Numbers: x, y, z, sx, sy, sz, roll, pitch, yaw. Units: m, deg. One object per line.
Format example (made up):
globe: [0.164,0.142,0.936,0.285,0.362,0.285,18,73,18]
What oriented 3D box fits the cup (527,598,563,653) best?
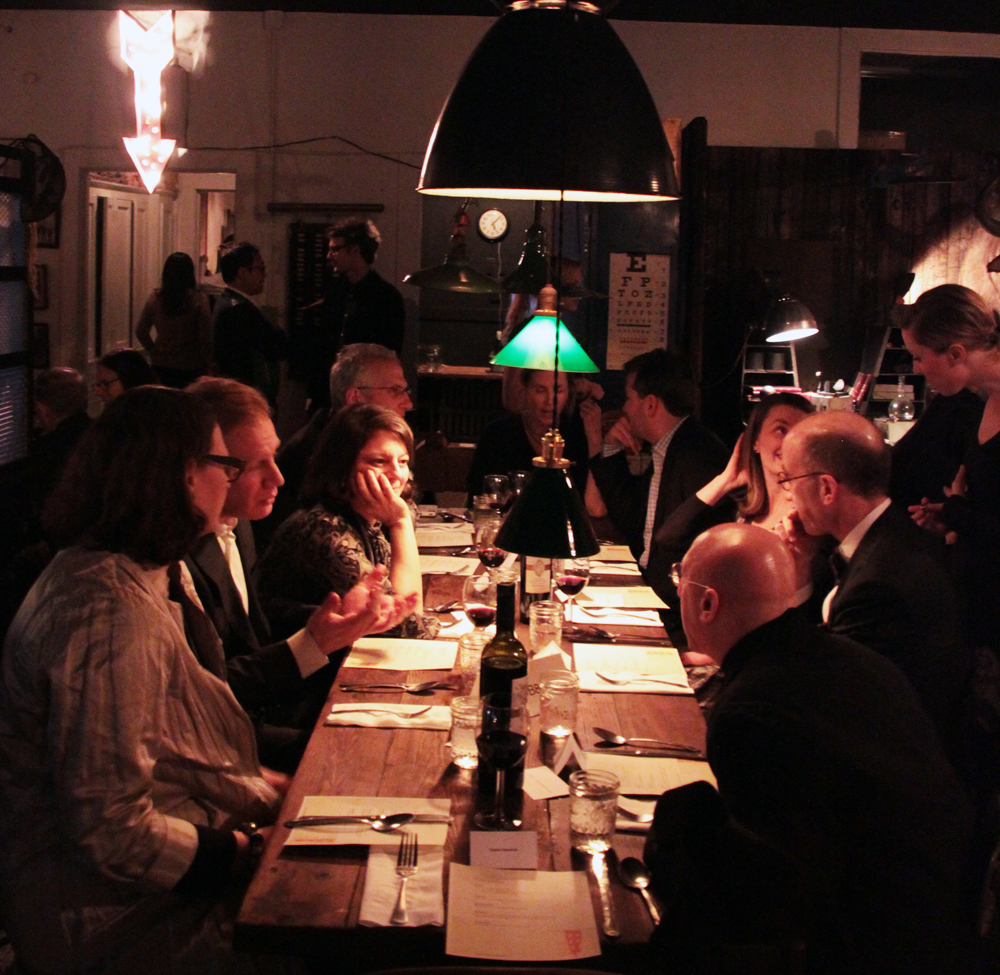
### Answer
cup: [0.129,0.370,2.491,0.092,0.169,0.100,1,0,0]

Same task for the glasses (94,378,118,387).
glasses: [-2.036,-0.532,4.873,0.079,0.027,0.085,9,-9,45]

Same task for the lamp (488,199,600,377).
lamp: [0.262,-0.709,3.711,0.517,0.614,0.569,1,-1,33]

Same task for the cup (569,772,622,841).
cup: [0.154,0.529,1.563,0.087,0.111,0.097,1,-1,0]

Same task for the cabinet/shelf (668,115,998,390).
cabinet/shelf: [2.157,-1.491,6.251,2.085,1.765,0.856,1,5,-5]

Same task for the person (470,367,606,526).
person: [0.122,-0.200,4.539,0.561,1.027,0.652,0,2,-9]

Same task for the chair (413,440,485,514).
chair: [-0.294,-0.045,5.549,0.360,0.756,0.383,0,10,2]

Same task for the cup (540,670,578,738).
cup: [0.127,0.474,2.088,0.094,0.156,0.106,-1,5,-4]
